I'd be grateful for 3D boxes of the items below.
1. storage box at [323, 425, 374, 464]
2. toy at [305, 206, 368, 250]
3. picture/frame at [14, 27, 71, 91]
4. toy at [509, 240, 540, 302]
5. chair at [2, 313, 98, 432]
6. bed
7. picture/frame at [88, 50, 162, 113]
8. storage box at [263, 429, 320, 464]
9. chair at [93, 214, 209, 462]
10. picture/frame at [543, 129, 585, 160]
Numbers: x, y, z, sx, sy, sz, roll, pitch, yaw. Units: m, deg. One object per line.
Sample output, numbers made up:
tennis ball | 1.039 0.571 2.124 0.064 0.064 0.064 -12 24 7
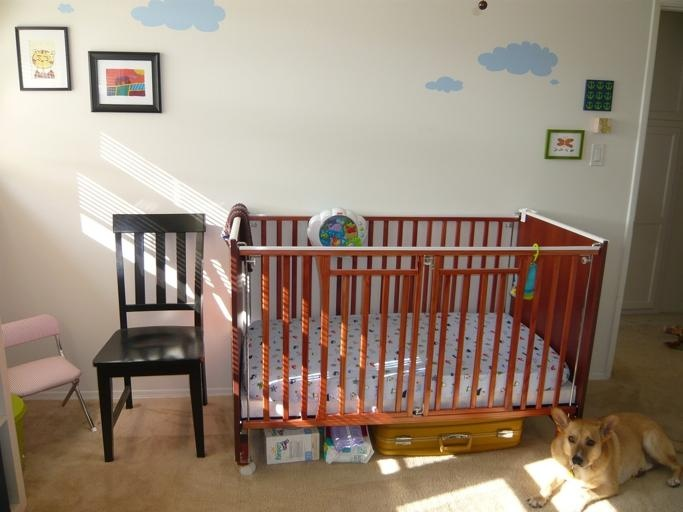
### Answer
storage box | 0.034 1.060 3.201 0.192 0.074 0.209 1 25 -1
toy | -0.047 -0.178 3.508 0.268 0.223 0.068 -1 10 -7
picture/frame | -1.749 -1.172 3.301 0.305 0.422 0.025 -2 12 -2
toy | 1.024 0.090 3.123 0.101 0.281 0.105 7 13 4
chair | -1.705 0.544 3.220 0.345 0.311 0.391 -9 20 -33
bed | 0.337 0.424 3.564 1.946 1.444 1.174 0 15 -8
picture/frame | -1.299 -1.052 3.356 0.320 0.308 0.027 0 10 -3
storage box | -0.294 1.033 3.224 0.309 0.189 0.204 -3 10 -14
chair | -1.095 0.428 3.324 0.621 1.252 0.814 -2 17 -14
picture/frame | 1.444 -0.748 3.725 0.173 0.165 0.014 -1 13 -1
